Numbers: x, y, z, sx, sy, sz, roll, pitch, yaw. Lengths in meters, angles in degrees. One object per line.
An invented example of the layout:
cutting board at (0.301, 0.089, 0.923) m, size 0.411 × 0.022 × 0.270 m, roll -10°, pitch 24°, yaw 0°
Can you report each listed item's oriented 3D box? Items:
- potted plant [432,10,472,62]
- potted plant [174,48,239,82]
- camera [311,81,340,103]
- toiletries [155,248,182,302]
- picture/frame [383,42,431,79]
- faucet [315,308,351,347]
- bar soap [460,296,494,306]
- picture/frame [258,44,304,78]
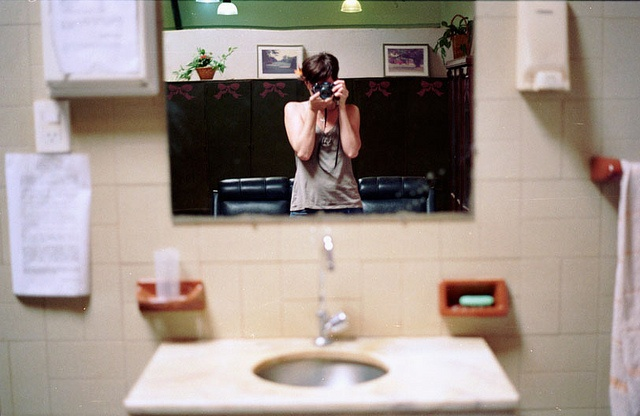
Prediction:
potted plant at (0.469, -0.588, 2.085) m, size 0.151 × 0.125 × 0.132 m, roll -2°, pitch -3°, yaw 37°
potted plant at (-0.410, -0.505, 2.126) m, size 0.146 × 0.067 × 0.130 m, roll -6°, pitch 21°, yaw 2°
camera at (0.004, -0.422, 2.157) m, size 0.084 × 0.049 × 0.057 m, roll 0°, pitch 32°, yaw 1°
toiletries at (-0.531, 0.221, 2.096) m, size 0.091 × 0.167 × 0.037 m, roll -4°, pitch 7°, yaw -6°
picture/frame at (0.310, -0.515, 2.113) m, size 0.137 × 0.093 × 0.006 m, roll -1°, pitch 4°, yaw -2°
faucet at (0.050, 0.412, 2.109) m, size 0.119 × 0.114 × 0.036 m, roll -13°, pitch -8°, yaw 25°
bar soap at (0.537, 0.320, 2.057) m, size 0.123 × 0.039 × 0.040 m, roll -2°, pitch -4°, yaw 0°
picture/frame at (-0.150, -0.525, 2.149) m, size 0.133 × 0.089 × 0.005 m, roll 0°, pitch -3°, yaw -6°
